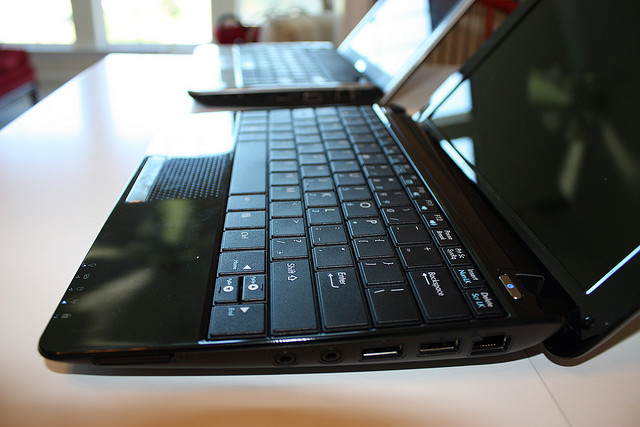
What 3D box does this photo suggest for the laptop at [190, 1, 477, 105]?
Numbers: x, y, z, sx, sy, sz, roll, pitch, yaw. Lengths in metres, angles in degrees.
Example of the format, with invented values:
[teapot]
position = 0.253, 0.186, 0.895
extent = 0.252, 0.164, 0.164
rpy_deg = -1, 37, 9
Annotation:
[laptop]
position = -0.006, -0.323, 1.014
extent = 0.431, 0.236, 0.397
rpy_deg = 1, 30, -5

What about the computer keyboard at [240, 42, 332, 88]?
[computer keyboard]
position = -0.071, -0.338, 1.088
extent = 0.268, 0.106, 0.005
rpy_deg = -13, 8, -43
